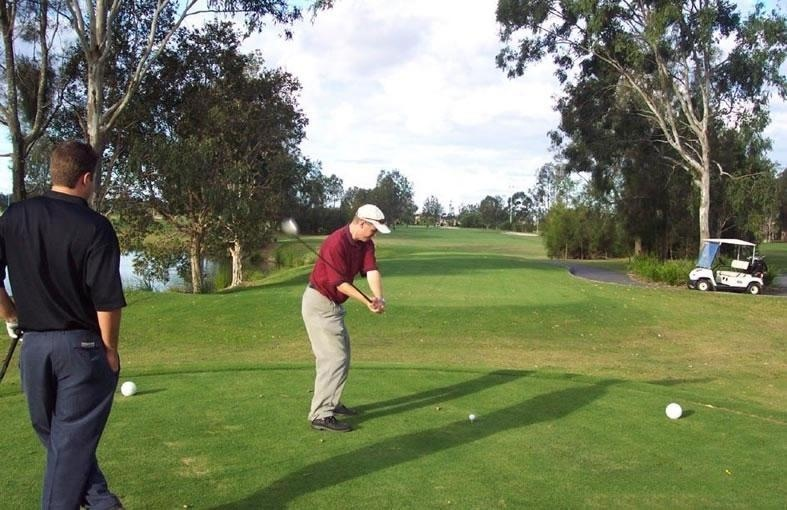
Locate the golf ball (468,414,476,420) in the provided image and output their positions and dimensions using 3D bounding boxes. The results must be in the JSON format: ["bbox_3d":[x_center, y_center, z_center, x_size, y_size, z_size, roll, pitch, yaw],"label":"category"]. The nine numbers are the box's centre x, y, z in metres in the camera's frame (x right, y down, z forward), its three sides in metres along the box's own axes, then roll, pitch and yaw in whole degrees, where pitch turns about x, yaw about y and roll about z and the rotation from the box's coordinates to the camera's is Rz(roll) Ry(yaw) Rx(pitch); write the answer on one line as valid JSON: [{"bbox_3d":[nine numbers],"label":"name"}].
[{"bbox_3d":[1.197,2.490,9.652,0.065,0.070,0.065,-21,18,7],"label":"golf ball"}]

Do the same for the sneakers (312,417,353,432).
[{"bbox_3d":[-0.899,2.493,9.258,0.567,0.289,0.243,0,-1,-1],"label":"sneakers"}]

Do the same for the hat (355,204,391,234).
[{"bbox_3d":[-0.302,-0.576,9.782,0.552,0.310,0.357,33,12,-1],"label":"hat"}]
